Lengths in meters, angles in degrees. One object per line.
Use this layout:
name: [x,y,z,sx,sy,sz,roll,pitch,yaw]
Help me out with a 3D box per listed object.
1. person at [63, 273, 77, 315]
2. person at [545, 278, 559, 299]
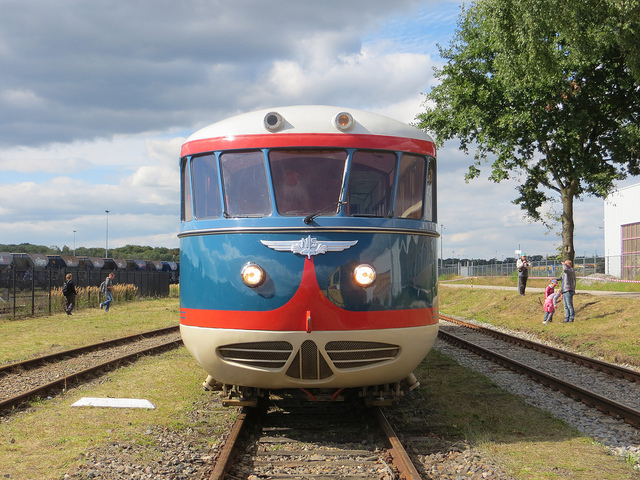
person: [-11.539,2.478,23.576,0.587,1.526,2.164,3,-3,-25]
person: [9.677,2.036,21.114,0.356,0.482,1.158,9,-10,13]
